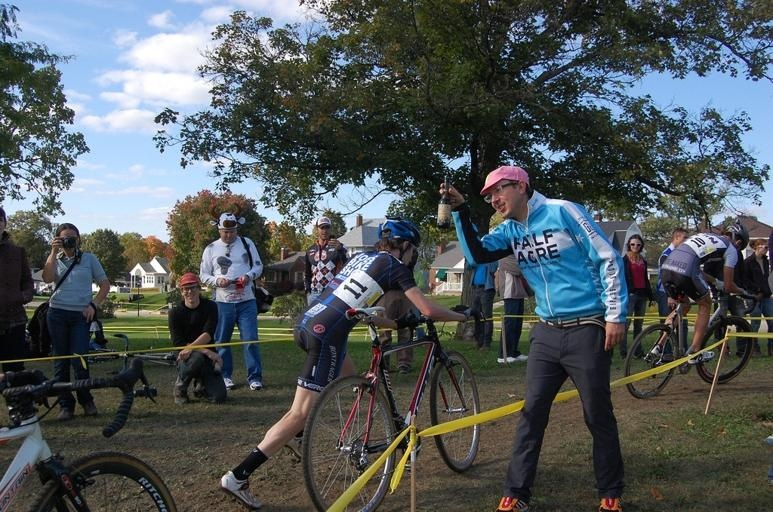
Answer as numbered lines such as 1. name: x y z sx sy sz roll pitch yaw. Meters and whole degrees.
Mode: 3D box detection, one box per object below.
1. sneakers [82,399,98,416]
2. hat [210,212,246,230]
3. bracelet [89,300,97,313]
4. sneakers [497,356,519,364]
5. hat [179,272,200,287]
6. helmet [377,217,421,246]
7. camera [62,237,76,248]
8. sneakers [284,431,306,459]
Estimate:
1. sneakers: -4.555 2.358 11.582 0.164 0.257 0.195 -37 -17 31
2. hat: -2.752 -0.595 13.263 0.517 0.230 0.468 -2 4 -8
3. bracelet: -4.506 0.789 11.623 0.061 0.139 0.123 -35 -18 -29
4. sneakers: 2.443 2.095 14.962 0.390 0.156 0.152 -4 1 15
5. hat: -3.230 0.372 12.459 0.304 0.203 0.386 -7 -16 -7
6. helmet: 0.143 -0.307 9.981 0.364 0.418 0.466 -6 -34 46
7. camera: -4.818 -0.214 11.514 0.231 0.192 0.121 -2 11 -31
8. sneakers: -1.141 2.418 9.472 0.235 0.275 0.623 1 -1 4
